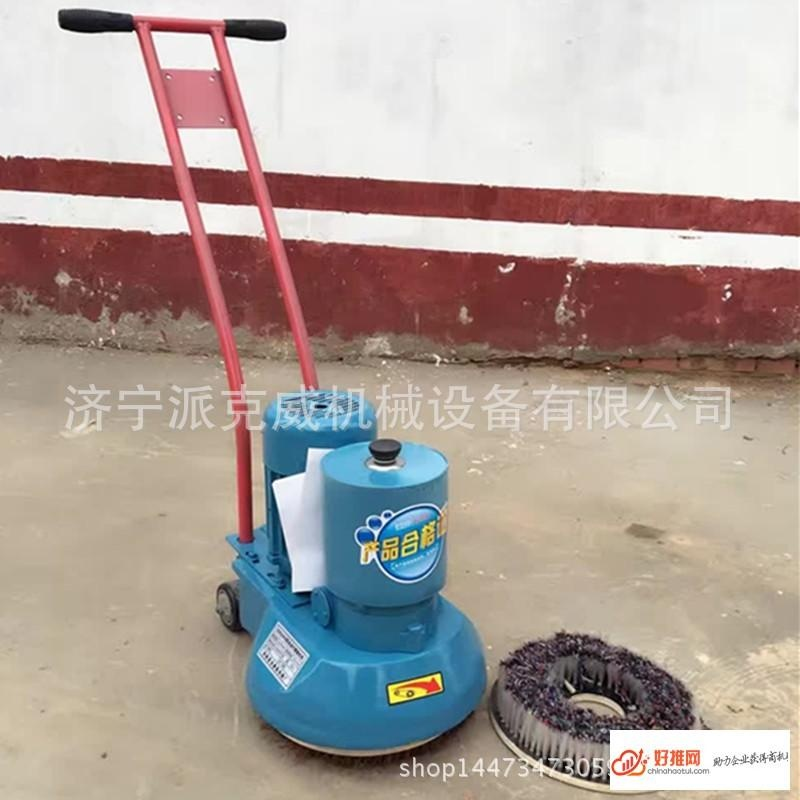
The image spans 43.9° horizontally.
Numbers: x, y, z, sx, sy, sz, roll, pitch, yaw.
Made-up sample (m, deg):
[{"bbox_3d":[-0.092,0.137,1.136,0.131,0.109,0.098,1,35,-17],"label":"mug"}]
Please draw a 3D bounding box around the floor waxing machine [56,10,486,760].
[{"bbox_3d":[-0.255,-0.036,2.502,0.544,1.718,0.932,-12,16,-30],"label":"floor waxing machine"}]
